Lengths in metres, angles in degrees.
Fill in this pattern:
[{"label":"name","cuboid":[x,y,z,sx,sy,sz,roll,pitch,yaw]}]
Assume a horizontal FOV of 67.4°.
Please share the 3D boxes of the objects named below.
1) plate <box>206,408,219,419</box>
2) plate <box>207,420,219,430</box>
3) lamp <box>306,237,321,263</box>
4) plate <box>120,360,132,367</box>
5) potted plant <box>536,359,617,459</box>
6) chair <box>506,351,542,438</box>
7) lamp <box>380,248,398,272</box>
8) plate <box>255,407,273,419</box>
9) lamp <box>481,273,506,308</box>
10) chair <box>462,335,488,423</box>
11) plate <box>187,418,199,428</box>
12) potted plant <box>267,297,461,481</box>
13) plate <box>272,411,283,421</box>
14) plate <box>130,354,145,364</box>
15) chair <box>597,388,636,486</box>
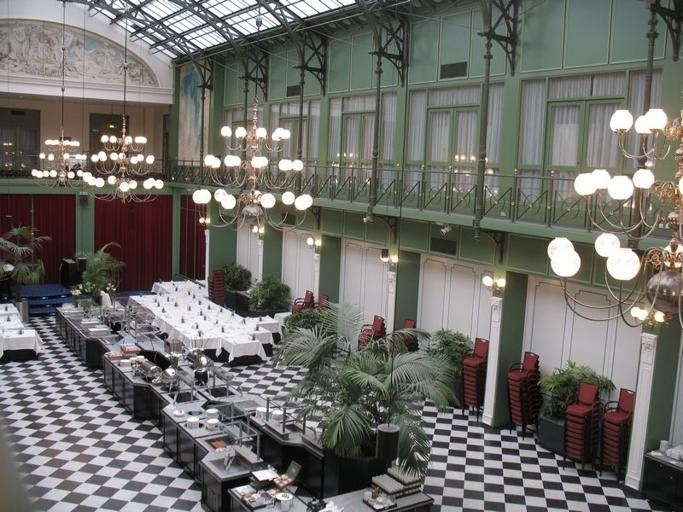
[{"label":"plate","cuboid":[-2.456,3.026,9.768,0.153,0.128,0.162,-3,8,-27]},{"label":"plate","cuboid":[-2.345,3.091,9.349,0.212,0.123,0.168,1,2,-39]},{"label":"lamp","cuboid":[-0.941,-0.196,17.469,0.423,0.903,0.772,-2,8,-21]},{"label":"plate","cuboid":[-5.299,2.639,12.571,0.186,0.209,0.208,4,1,4]},{"label":"potted plant","cuboid":[4.881,3.315,11.016,1.100,1.591,0.922,3,-10,-29]},{"label":"chair","cuboid":[4.246,3.207,11.879,0.845,1.787,0.616,-5,10,-39]},{"label":"lamp","cuboid":[1.335,0.128,14.560,0.477,0.854,0.566,0,1,-30]},{"label":"plate","cuboid":[-1.475,3.055,9.906,0.321,0.288,0.192,4,-3,-27]},{"label":"lamp","cuboid":[3.552,0.941,11.790,0.499,1.041,0.529,0,6,-8]},{"label":"chair","cuboid":[3.321,3.016,12.651,0.566,1.765,0.655,6,9,35]},{"label":"plate","cuboid":[-2.754,3.113,9.505,0.147,0.131,0.163,5,11,16]},{"label":"potted plant","cuboid":[0.344,2.038,8.496,2.713,2.194,2.781,14,19,42]},{"label":"plate","cuboid":[-1.207,3.051,9.695,0.188,0.084,0.167,1,4,18]},{"label":"plate","cuboid":[-4.938,2.529,12.349,0.249,0.072,0.280,2,2,-12]},{"label":"chair","cuboid":[5.487,3.541,10.194,0.641,1.649,0.535,-6,10,-44]}]
